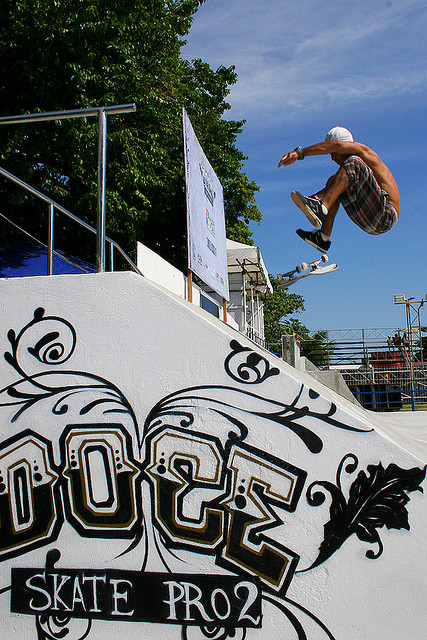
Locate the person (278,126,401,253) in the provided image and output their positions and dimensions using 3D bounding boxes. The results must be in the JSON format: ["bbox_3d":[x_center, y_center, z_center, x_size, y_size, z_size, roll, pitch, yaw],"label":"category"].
[{"bbox_3d":[1.090,-1.148,7.583,1.054,1.080,0.765,10,-20,-1],"label":"person"}]

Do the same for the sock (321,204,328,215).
[{"bbox_3d":[0.935,-0.911,7.334,0.027,0.096,0.038,-6,-3,10],"label":"sock"}]
